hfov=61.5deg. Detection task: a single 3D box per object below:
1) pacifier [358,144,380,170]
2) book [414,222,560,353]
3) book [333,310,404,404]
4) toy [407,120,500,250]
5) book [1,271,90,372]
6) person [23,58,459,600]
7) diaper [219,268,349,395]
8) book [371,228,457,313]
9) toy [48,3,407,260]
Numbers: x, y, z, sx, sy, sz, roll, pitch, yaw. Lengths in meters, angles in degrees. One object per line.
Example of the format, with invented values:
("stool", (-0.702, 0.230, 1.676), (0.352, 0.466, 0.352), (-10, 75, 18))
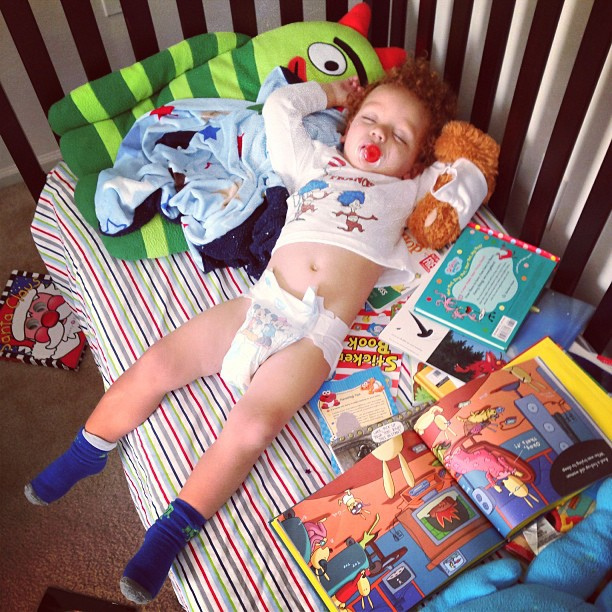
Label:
("pacifier", (0.163, -0.384, 1.326), (0.054, 0.014, 0.050), (4, 92, 30))
("book", (0.438, -0.049, 1.242), (0.309, 0.051, 0.314), (30, 67, 25))
("book", (0.141, 0.121, 1.227), (0.143, 0.019, 0.192), (19, 55, 17))
("toy", (0.363, -0.329, 1.446), (0.242, 0.156, 0.347), (42, 70, -16))
("book", (-0.915, 0.070, 1.884), (0.354, 0.051, 0.361), (8, 55, 5))
("person", (-0.002, -0.149, 1.603), (0.778, 0.427, 1.814), (32, 67, 6))
("diaper", (-0.048, 0.058, 1.135), (0.260, 0.105, 0.262), (38, 69, 11))
("book", (0.286, -0.092, 1.353), (0.251, 0.025, 0.182), (-40, 44, -20))
("toy", (-0.324, -0.558, 1.805), (1.027, 0.773, 0.767), (-15, 53, -17))
